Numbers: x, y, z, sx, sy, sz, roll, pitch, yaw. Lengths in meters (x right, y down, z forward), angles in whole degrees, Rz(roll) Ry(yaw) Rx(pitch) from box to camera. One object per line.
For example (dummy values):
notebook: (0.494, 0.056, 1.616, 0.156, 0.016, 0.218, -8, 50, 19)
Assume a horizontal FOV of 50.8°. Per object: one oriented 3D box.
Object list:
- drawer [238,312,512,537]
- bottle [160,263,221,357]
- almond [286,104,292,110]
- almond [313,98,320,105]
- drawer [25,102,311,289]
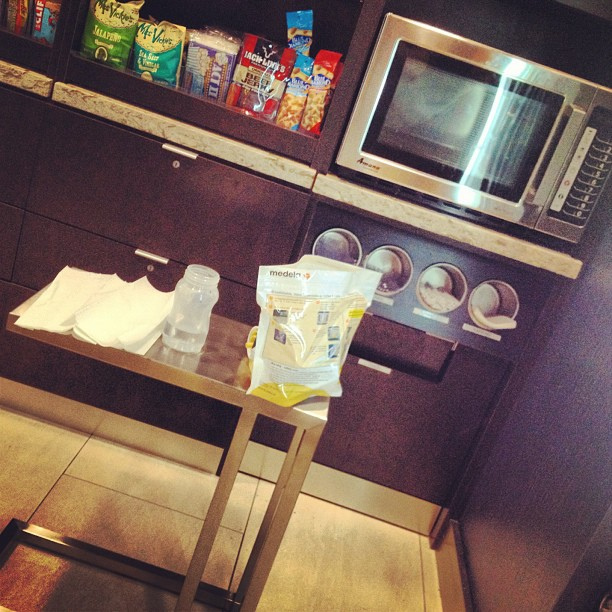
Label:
drawer: (0.210, 0.304, 1.719, 0.594, 0.504, 0.298, 19, 26, -3)
bottle: (-0.236, 0.007, 1.316, 0.088, 0.161, 0.115, 15, 18, -11)
almond: (-0.048, -0.532, 1.722, 0.019, 0.020, 0.003, 1, 24, -2)
almond: (0.026, -0.541, 1.706, 0.013, 0.019, 0.002, 20, 19, 7)
drawer: (-0.403, -0.300, 1.906, 0.793, 0.301, 0.522, 19, 6, 0)
